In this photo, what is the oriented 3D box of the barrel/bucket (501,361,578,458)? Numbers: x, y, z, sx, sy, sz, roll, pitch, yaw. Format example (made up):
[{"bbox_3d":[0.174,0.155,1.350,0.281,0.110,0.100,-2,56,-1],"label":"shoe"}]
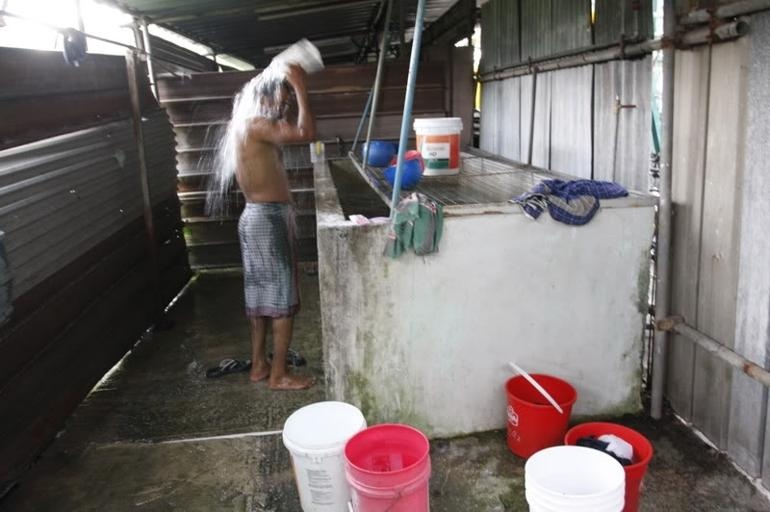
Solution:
[{"bbox_3d":[1.071,1.170,4.127,0.632,0.671,0.589,0,11,0],"label":"barrel/bucket"}]

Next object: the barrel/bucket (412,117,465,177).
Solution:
[{"bbox_3d":[0.504,-1.058,5.177,0.512,0.511,0.524,-2,14,0],"label":"barrel/bucket"}]

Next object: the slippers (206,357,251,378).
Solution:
[{"bbox_3d":[-1.565,1.116,5.347,0.320,0.108,0.185,-12,9,-32],"label":"slippers"}]

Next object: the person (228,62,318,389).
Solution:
[{"bbox_3d":[-0.979,-0.215,4.860,0.543,2.897,0.670,-10,16,-36],"label":"person"}]

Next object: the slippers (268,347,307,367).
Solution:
[{"bbox_3d":[-0.964,0.992,5.247,0.210,0.120,0.333,1,12,-5],"label":"slippers"}]

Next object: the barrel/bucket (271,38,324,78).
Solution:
[{"bbox_3d":[-0.748,-1.709,4.774,0.444,0.362,0.186,-19,-16,-6],"label":"barrel/bucket"}]
